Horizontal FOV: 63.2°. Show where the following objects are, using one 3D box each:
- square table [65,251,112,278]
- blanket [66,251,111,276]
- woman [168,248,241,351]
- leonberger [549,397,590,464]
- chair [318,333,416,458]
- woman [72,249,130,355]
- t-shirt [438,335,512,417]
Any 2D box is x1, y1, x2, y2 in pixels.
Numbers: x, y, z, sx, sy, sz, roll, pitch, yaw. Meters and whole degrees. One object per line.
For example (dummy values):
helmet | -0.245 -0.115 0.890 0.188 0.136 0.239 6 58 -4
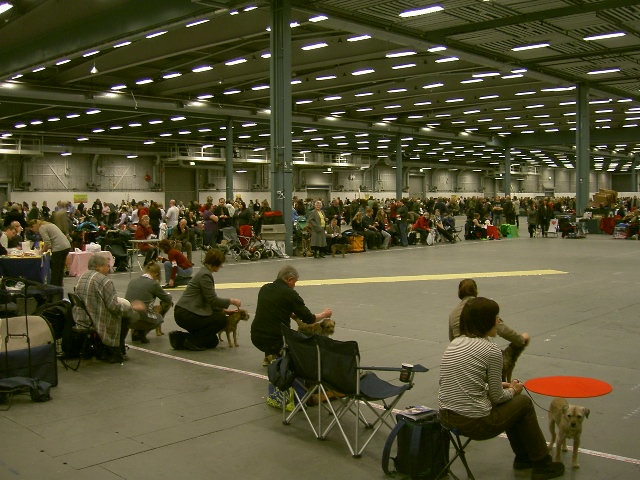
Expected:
square table | -4.987 0.490 11.066 0.745 0.357 0.643 -2 -6 20
blanket | -4.988 0.477 11.087 0.663 0.316 0.571 -2 -6 18
woman | -1.810 1.011 7.820 0.879 1.257 0.404 -2 3 -17
leonberger | 2.168 1.640 4.580 0.207 0.524 0.835 3 -2 13
chair | 0.434 1.441 5.064 0.810 1.028 1.074 0 -2 -23
woman | -3.016 0.934 7.217 0.725 1.492 0.637 -3 3 -33
t-shirt | 1.281 1.082 4.268 0.674 0.579 0.497 1 2 -35
